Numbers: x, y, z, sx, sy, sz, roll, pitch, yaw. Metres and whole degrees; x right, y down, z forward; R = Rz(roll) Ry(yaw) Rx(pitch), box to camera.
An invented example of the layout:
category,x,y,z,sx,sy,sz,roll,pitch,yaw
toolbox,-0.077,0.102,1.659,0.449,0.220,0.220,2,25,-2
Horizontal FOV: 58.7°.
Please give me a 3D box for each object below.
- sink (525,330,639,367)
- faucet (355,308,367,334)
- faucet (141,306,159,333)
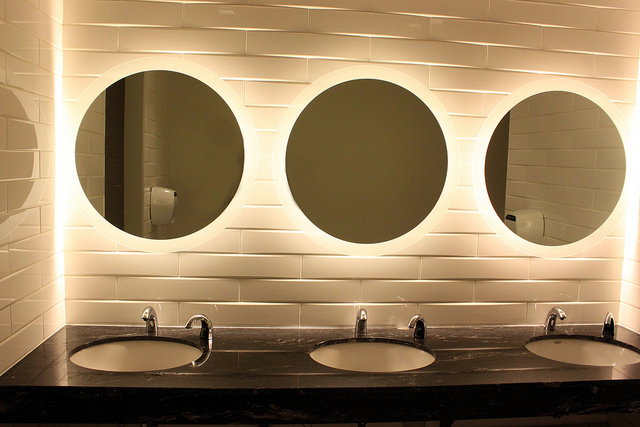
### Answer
category,x,y,z,sx,sy,sz,roll,pitch,yaw
sink,1.300,0.661,2.702,0.250,0.084,0.269,-1,4,4
faucet,0.205,0.524,2.799,0.059,0.123,0.092,2,-6,4
faucet,-0.803,0.503,2.707,0.077,0.124,0.144,5,-7,-16
